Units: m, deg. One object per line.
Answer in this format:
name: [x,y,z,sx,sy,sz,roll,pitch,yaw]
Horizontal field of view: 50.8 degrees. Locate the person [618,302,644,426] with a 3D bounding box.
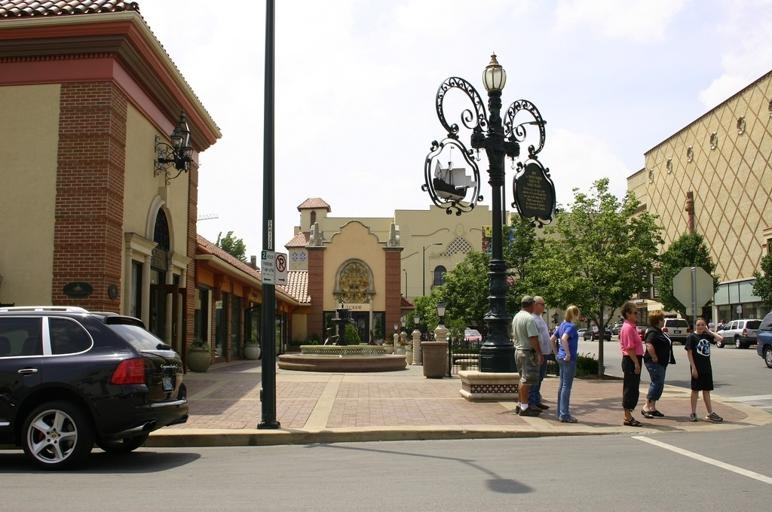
person: [5.403,2.362,17.896,0.514,2.686,1.496,-3,-10,16]

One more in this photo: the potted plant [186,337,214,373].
potted plant: [-6.343,3.477,27.659,0.787,0.980,0.828,5,10,13]

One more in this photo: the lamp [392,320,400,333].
lamp: [0.637,4.424,51.944,0.629,1.060,0.607,-2,-3,6]

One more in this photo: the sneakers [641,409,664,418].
sneakers: [5.968,3.538,18.365,0.516,0.200,0.192,0,-4,3]

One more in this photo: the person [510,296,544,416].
person: [3.168,2.228,18.289,0.617,2.658,1.213,-2,-9,9]

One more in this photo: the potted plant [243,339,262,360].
potted plant: [-6.161,4.314,37.712,0.849,0.876,0.880,-1,-11,5]

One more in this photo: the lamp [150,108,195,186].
lamp: [-6.594,-3.467,25.125,1.091,2.355,2.499,2,-10,-16]

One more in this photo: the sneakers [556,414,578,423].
sneakers: [3.928,3.533,17.742,0.437,0.211,0.162,1,-4,-8]

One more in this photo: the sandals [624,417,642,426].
sandals: [5.250,3.537,17.357,0.388,0.191,0.287,-2,-10,8]

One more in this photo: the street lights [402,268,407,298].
street lights: [2.346,3.197,98.855,0.738,3.702,0.925,-1,-9,2]
